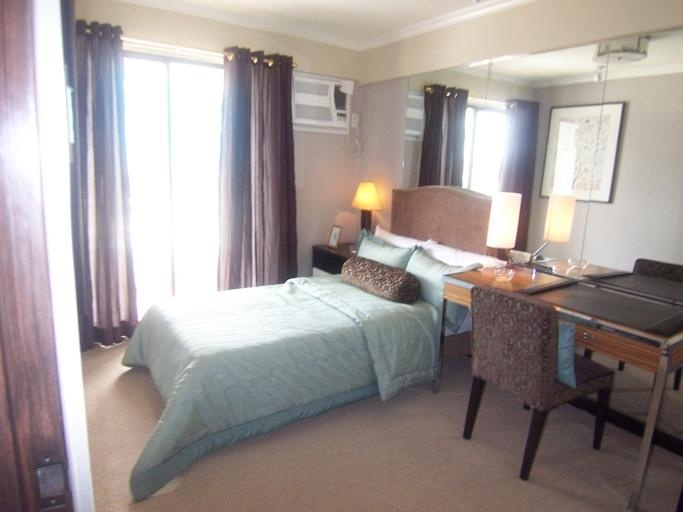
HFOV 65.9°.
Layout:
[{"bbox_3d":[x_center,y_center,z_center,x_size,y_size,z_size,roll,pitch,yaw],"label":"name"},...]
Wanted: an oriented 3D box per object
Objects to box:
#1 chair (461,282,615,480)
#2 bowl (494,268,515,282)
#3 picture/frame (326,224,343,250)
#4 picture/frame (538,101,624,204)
[{"bbox_3d":[1.130,0.654,3.062,0.774,0.980,0.738,-2,14,0],"label":"chair"},{"bbox_3d":[1.095,0.124,3.553,0.109,0.054,0.110,-2,13,1],"label":"bowl"},{"bbox_3d":[-0.089,-0.199,5.430,0.033,0.260,0.209,6,11,-34],"label":"picture/frame"},{"bbox_3d":[1.569,-0.679,3.418,0.026,0.780,0.565,-6,16,-33],"label":"picture/frame"}]
